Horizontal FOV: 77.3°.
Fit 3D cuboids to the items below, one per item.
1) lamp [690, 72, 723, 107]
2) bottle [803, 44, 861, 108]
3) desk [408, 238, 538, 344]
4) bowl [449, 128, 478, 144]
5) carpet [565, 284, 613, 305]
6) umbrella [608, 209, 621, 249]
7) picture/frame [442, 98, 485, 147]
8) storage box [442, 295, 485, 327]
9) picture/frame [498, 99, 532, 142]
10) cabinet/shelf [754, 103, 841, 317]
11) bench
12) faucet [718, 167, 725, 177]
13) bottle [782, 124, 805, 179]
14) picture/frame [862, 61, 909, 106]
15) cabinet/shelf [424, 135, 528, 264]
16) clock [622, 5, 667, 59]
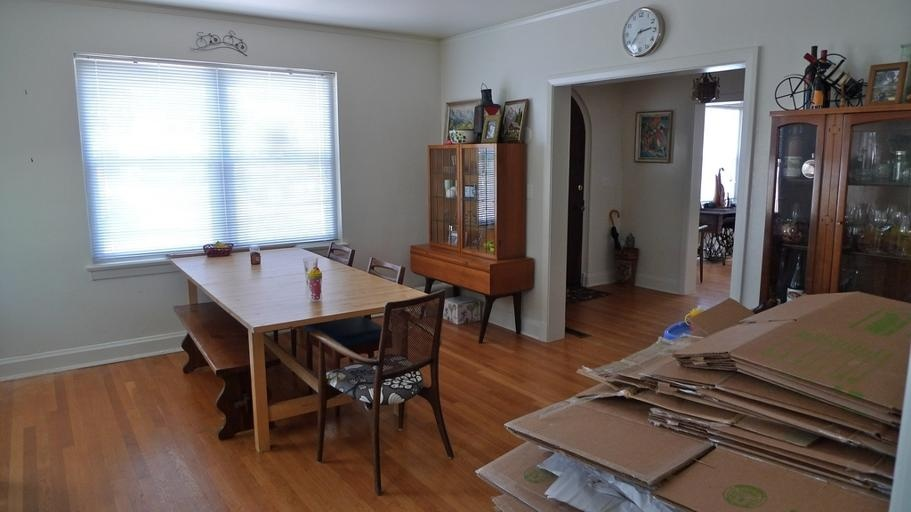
[{"bbox_3d":[3.105,-2.094,7.103,0.319,0.369,0.561,3,16,20],"label":"lamp"},{"bbox_3d":[2.907,-1.399,4.431,0.422,0.463,0.244,-4,16,-6],"label":"bottle"},{"bbox_3d":[0.155,0.390,6.838,0.622,0.836,1.584,-8,12,-34],"label":"desk"},{"bbox_3d":[0.089,-1.420,6.651,0.200,0.233,0.377,-3,9,-32],"label":"bowl"},{"bbox_3d":[1.765,0.527,7.757,0.524,0.022,0.789,2,14,15],"label":"carpet"},{"bbox_3d":[2.281,-0.393,8.219,0.199,0.560,0.272,2,16,15],"label":"umbrella"},{"bbox_3d":[0.091,-1.572,6.782,0.068,0.510,0.659,-8,17,-42],"label":"picture/frame"},{"bbox_3d":[0.096,0.641,6.922,0.368,0.208,0.362,-6,12,-33],"label":"storage box"},{"bbox_3d":[0.657,-1.503,6.344,0.063,0.554,0.476,3,8,-46],"label":"picture/frame"},{"bbox_3d":[2.814,-0.123,4.614,0.339,2.122,0.528,-7,13,-16],"label":"cabinet/shelf"},{"bbox_3d":[-1.980,1.019,4.944,0.370,0.439,1.201,-3,11,-34],"label":"bench"},{"bbox_3d":[4.574,-1.470,9.845,0.152,0.126,0.043,-15,20,-40],"label":"faucet"},{"bbox_3d":[2.647,-0.826,4.490,0.149,0.406,0.064,7,19,31],"label":"bottle"},{"bbox_3d":[3.143,-1.264,4.176,0.228,0.288,0.158,8,19,34],"label":"picture/frame"},{"bbox_3d":[0.277,-0.662,6.799,0.580,1.336,1.498,-6,11,-30],"label":"cabinet/shelf"},{"bbox_3d":[1.740,-2.085,5.334,0.382,0.441,0.080,12,22,43],"label":"clock"}]
